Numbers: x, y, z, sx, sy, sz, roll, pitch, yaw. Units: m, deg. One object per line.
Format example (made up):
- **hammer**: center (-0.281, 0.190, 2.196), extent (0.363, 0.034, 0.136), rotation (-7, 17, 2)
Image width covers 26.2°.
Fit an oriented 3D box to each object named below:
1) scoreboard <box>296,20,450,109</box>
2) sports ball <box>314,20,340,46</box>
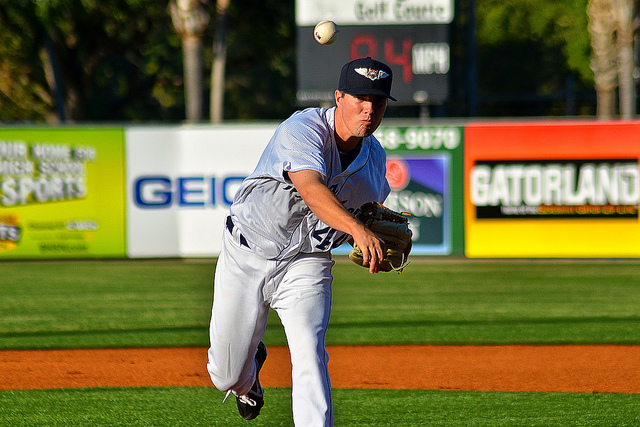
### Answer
- **scoreboard**: center (1.111, -2.956, 26.266), extent (2.217, 1.443, 0.230), rotation (0, -8, 6)
- **sports ball**: center (0.068, -2.734, 20.404), extent (0.333, 0.330, 0.338), rotation (47, 5, -6)
